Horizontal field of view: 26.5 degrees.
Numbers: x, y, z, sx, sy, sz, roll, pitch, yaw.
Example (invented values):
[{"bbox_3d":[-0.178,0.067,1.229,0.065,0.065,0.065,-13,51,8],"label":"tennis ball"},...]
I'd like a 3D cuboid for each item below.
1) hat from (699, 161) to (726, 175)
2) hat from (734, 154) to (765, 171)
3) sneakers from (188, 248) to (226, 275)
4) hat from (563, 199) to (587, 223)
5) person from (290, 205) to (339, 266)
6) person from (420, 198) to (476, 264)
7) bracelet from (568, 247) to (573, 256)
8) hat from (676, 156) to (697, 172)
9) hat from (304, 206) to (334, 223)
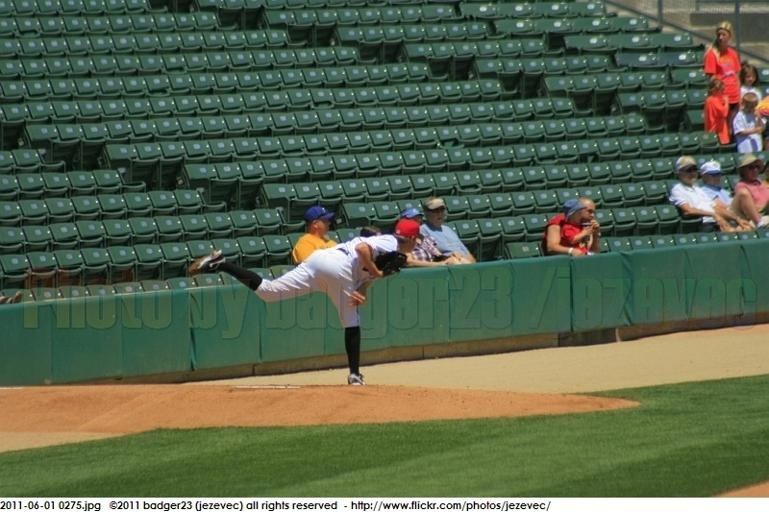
[{"bbox_3d":[5.294,-1.452,26.705,0.243,0.163,0.319,3,-17,-4],"label":"hat"},{"bbox_3d":[5.904,-1.533,26.451,0.371,0.213,0.329,-7,3,16],"label":"hat"},{"bbox_3d":[-2.504,0.089,23.269,0.449,0.143,0.187,-25,-36,14],"label":"sneakers"},{"bbox_3d":[2.890,-0.679,24.802,0.444,0.315,0.285,-7,3,28],"label":"hat"},{"bbox_3d":[-0.932,-0.231,23.355,0.618,0.965,0.914,-1,-2,19],"label":"person"},{"bbox_3d":[0.949,-0.348,25.104,0.714,1.078,0.980,1,-1,-30],"label":"person"},{"bbox_3d":[2.801,-0.076,24.775,0.031,0.094,0.101,11,19,-11],"label":"bracelet"},{"bbox_3d":[4.906,-1.504,26.632,0.296,0.221,0.374,-8,3,6],"label":"hat"},{"bbox_3d":[-0.899,-0.584,23.197,0.355,0.176,0.244,-3,11,-6],"label":"hat"}]
